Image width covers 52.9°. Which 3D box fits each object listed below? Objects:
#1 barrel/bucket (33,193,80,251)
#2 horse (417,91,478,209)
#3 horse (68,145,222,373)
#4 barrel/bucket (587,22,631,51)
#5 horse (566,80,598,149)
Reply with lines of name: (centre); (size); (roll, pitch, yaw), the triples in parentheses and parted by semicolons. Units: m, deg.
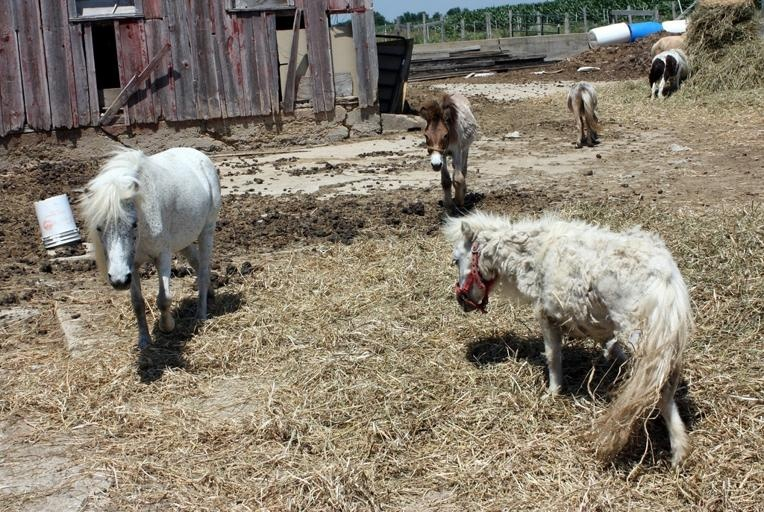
barrel/bucket: (-5.150, -0.477, 12.293); (0.623, 0.876, 0.571); (-10, 2, 0)
horse: (1.185, -1.810, 13.063); (0.804, 1.776, 2.012); (-1, 16, 9)
horse: (-2.729, -0.114, 9.313); (0.890, 2.348, 2.141); (0, 17, 14)
barrel/bucket: (10.273, -10.165, 35.455); (2.435, 0.906, 0.800); (-10, 6, -17)
horse: (4.403, -3.071, 16.732); (0.582, 1.256, 1.087); (1, 17, 14)
